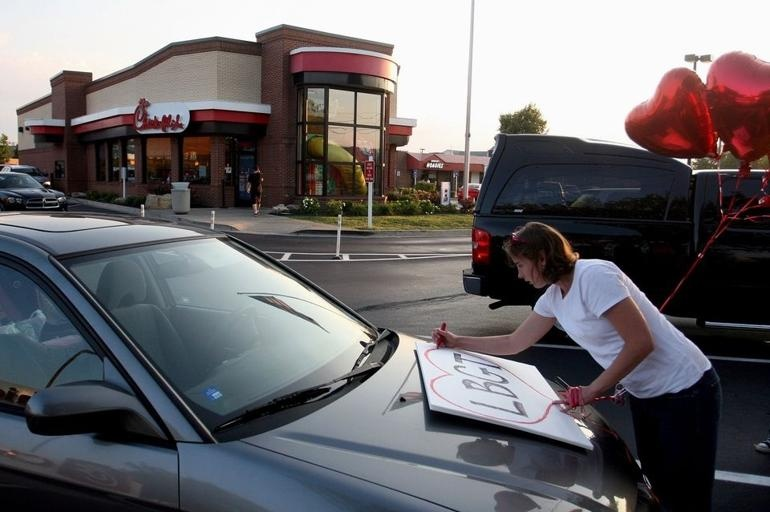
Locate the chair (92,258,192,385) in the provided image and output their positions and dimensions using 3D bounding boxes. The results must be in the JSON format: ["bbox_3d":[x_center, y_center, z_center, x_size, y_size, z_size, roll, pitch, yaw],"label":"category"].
[{"bbox_3d":[-1.297,0.365,3.136,0.493,0.589,0.414,0,6,23],"label":"chair"}]

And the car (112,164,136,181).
[{"bbox_3d":[-15.194,-4.718,33.255,1.090,0.882,4.912,-2,9,-27],"label":"car"}]

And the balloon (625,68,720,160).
[{"bbox_3d":[3.028,-1.336,6.165,0.689,0.859,0.907,22,-26,-31],"label":"balloon"}]
